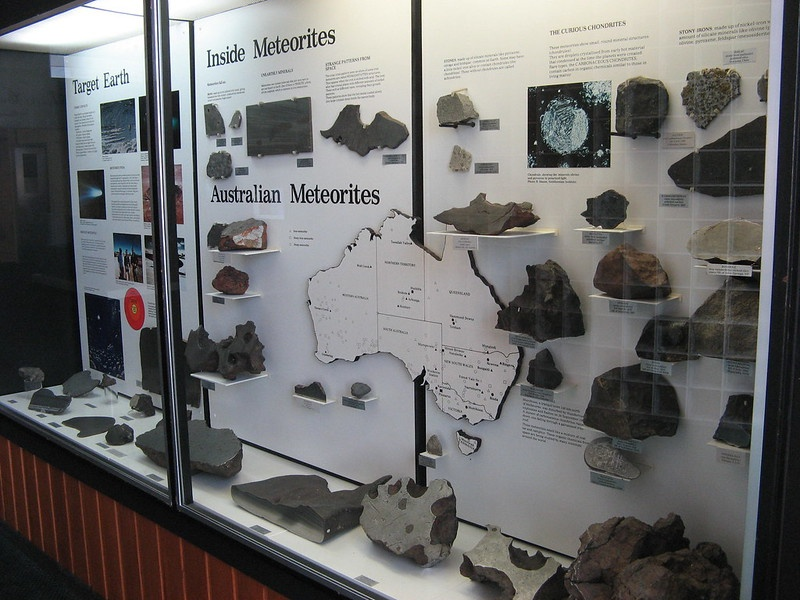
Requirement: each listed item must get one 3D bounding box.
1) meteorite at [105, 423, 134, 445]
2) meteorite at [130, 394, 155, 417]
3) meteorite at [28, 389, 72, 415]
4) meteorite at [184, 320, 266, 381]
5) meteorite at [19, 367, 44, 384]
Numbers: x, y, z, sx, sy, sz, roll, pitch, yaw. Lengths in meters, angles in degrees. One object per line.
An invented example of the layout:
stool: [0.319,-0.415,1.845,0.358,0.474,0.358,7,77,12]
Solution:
meteorite: [-1.418,0.689,3.159,0.141,0.126,0.069,-10,-6,20]
meteorite: [-1.254,0.515,3.036,0.129,0.115,0.051,14,13,34]
meteorite: [-2.013,0.580,3.628,0.252,0.165,0.062,12,0,25]
meteorite: [-0.787,0.219,3.001,0.276,0.314,0.146,20,22,6]
meteorite: [-2.168,0.446,3.685,0.138,0.112,0.056,3,-6,31]
